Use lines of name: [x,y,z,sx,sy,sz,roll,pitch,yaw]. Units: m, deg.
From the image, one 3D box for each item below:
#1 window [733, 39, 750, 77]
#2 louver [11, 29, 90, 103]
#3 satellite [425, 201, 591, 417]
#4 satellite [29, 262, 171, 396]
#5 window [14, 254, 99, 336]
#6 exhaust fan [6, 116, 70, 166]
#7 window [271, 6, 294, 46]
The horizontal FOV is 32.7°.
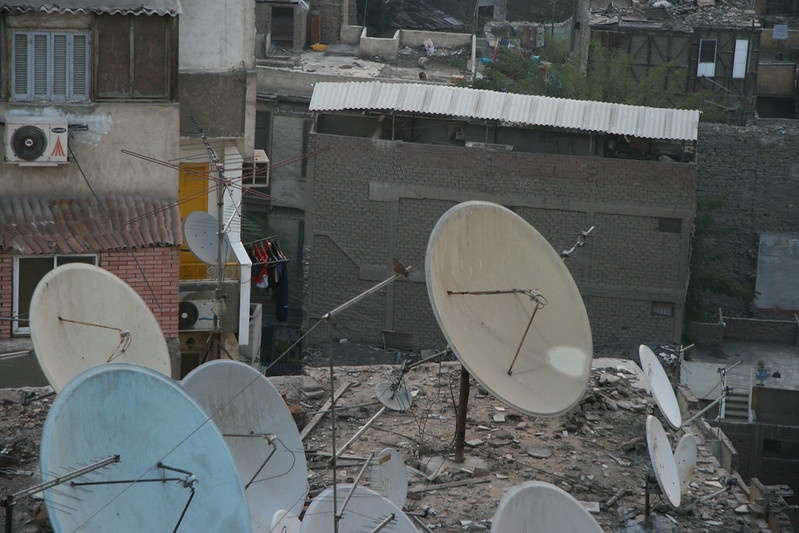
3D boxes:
window: [13.770,-8.135,54.239,0.529,1.565,0.062,5,-5,24]
louver: [-8.296,-4.669,31.733,1.497,1.466,0.163,0,3,-2]
satellite: [2.420,0.841,30.093,4.013,2.097,4.649,26,36,-12]
satellite: [-6.397,1.611,28.474,2.719,1.462,3.184,23,39,-4]
window: [-7.512,0.658,29.460,1.596,1.697,0.079,-2,6,-9]
exhaust fan: [-8.551,-2.897,31.887,1.533,1.381,0.987,0,0,-12]
window: [-4.856,-9.774,56.283,1.154,2.393,1.225,-1,9,-5]
